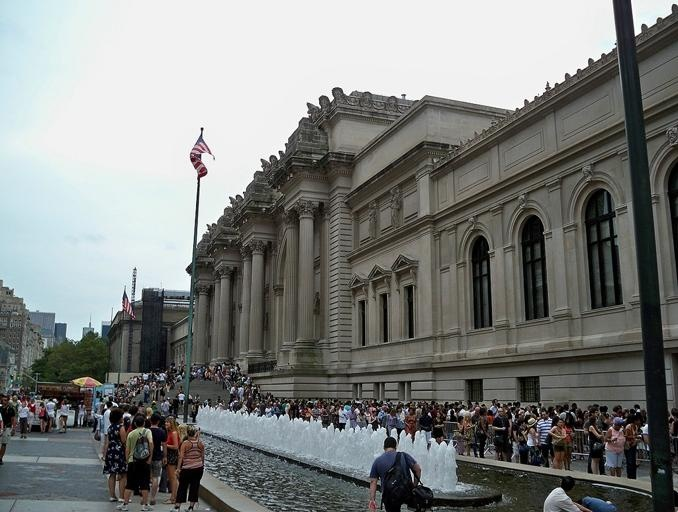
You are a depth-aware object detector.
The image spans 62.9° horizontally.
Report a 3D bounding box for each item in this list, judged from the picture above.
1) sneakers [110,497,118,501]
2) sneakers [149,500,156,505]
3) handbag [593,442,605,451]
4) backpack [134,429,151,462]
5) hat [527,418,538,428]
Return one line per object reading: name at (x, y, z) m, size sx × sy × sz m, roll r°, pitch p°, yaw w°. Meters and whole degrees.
sneakers at (-4.958, 5.374, 12.231) m, size 0.062 × 0.085 × 0.183 m, roll 0°, pitch -7°, yaw 27°
sneakers at (-4.207, 5.584, 12.519) m, size 0.080 × 0.111 × 0.238 m, roll 2°, pitch -5°, yaw -3°
handbag at (7.760, 5.784, 16.784) m, size 0.244 × 0.104 × 0.180 m, roll 1°, pitch -2°, yaw -28°
backpack at (-4.214, 4.040, 11.781) m, size 0.339 × 0.566 × 0.281 m, roll -1°, pitch 4°, yaw -2°
hat at (6.524, 5.750, 19.027) m, size 0.248 × 0.094 × 0.228 m, roll -29°, pitch -15°, yaw 29°
